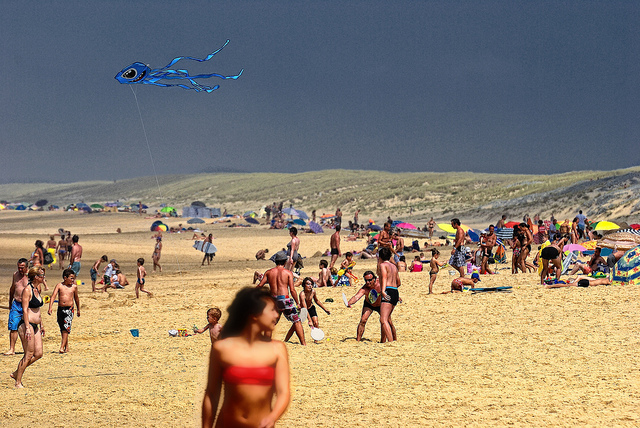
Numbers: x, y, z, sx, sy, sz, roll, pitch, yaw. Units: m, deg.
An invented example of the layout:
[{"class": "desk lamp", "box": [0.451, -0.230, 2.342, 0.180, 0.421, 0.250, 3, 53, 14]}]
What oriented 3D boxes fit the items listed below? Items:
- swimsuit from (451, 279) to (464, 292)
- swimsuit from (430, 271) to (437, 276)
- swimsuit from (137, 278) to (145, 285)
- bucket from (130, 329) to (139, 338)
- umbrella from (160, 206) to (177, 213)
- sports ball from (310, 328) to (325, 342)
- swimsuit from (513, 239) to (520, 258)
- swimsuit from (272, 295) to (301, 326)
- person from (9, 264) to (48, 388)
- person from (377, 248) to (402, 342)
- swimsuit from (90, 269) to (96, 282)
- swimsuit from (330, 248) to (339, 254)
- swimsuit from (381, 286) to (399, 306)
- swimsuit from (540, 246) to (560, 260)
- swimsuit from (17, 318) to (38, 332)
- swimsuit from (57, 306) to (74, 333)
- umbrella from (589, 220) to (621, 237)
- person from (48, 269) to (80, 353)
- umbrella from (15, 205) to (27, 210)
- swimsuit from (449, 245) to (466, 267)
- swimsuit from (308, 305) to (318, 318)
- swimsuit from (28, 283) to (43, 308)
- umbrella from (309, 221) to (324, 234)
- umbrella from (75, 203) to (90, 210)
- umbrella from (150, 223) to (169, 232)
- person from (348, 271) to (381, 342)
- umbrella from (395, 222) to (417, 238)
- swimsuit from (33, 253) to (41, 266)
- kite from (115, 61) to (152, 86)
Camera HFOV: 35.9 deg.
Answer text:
[{"class": "swimsuit", "box": [4.223, 2.198, 30.528, 0.343, 0.350, 0.266, -4, 10, -26]}, {"class": "swimsuit", "box": [3.537, 1.826, 30.640, 0.169, 0.138, 0.181, 0, 1, 24]}, {"class": "swimsuit", "box": [-5.791, 2.172, 31.691, 0.213, 0.173, 0.207, 3, 6, 31]}, {"class": "bucket", "box": [-5.219, 3.339, 27.794, 0.170, 0.198, 0.186, -3, -9, 0]}, {"class": "umbrella", "box": [-13.148, -0.435, 85.239, 1.232, 0.523, 1.267, -2, -4, 24]}, {"class": "sports ball", "box": [-0.060, 3.260, 26.670, 0.360, 0.344, 0.435, -1, 1, -5]}, {"class": "swimsuit", "box": [6.829, 1.222, 34.101, 0.265, 0.499, 0.370, -2, 9, 6]}, {"class": "swimsuit", "box": [-0.881, 2.478, 25.656, 0.385, 0.783, 0.870, 0, 2, 29]}, {"class": "person", "box": [-7.289, 2.750, 24.658, 0.797, 2.961, 1.079, -2, 2, -16]}, {"class": "person", "box": [1.834, 2.126, 25.955, 0.514, 2.525, 0.930, -1, 2, 4]}, {"class": "swimsuit", "box": [-7.680, 2.049, 33.417, 0.144, 0.427, 0.408, -2, 1, -15]}, {"class": "swimsuit", "box": [0.546, 1.311, 35.178, 0.227, 0.214, 0.170, 0, -26, -7]}, {"class": "swimsuit", "box": [1.882, 2.081, 26.118, 0.580, 0.588, 0.408, 3, 8, -12]}, {"class": "swimsuit", "box": [6.943, 1.172, 29.583, 0.466, 0.433, 0.339, -3, 7, -10]}, {"class": "swimsuit", "box": [-7.290, 2.731, 24.548, 0.345, 0.278, 0.331, 0, 0, 44]}, {"class": "swimsuit", "box": [-6.784, 2.778, 26.261, 0.383, 0.704, 0.334, -2, 2, -20]}, {"class": "umbrella", "box": [12.017, 0.543, 41.426, 0.739, 0.533, 0.763, 4, 5, 28]}, {"class": "person", "box": [-6.900, 2.590, 26.611, 0.761, 2.199, 1.076, -2, 2, -15]}, {"class": "umbrella", "box": [-30.389, -0.700, 100.001, 0.830, 0.410, 1.116, -1, -3, -20]}, {"class": "swimsuit", "box": [4.314, 1.291, 30.805, 0.430, 0.685, 0.611, -1, 1, 7]}, {"class": "swimsuit", "box": [-0.219, 2.690, 27.383, 0.210, 0.301, 0.392, -1, 1, -1]}, {"class": "swimsuit", "box": [-7.137, 2.121, 24.619, 0.309, 0.563, 0.376, -4, -1, 4]}, {"class": "umbrella", "box": [-0.193, 0.695, 53.008, 0.735, 0.618, 1.131, -1, 1, 0]}, {"class": "umbrella", "box": [-20.053, -0.747, 83.049, 1.265, 0.524, 1.858, 0, -2, -5]}, {"class": "umbrella", "box": [-8.698, 0.722, 53.813, 0.605, 0.210, 0.594, 5, -6, 36]}, {"class": "person", "box": [1.294, 2.461, 26.343, 0.937, 1.888, 0.742, -1, 2, 25]}, {"class": "umbrella", "box": [4.264, 0.797, 48.892, 0.706, 0.514, 0.704, 2, 4, 2]}, {"class": "swimsuit", "box": [-8.791, 1.393, 30.625, 0.286, 0.317, 0.296, -4, -6, 13]}, {"class": "kite", "box": [-5.205, -3.854, 27.124, 1.046, 0.541, 0.560, -1, 2, 28]}]
